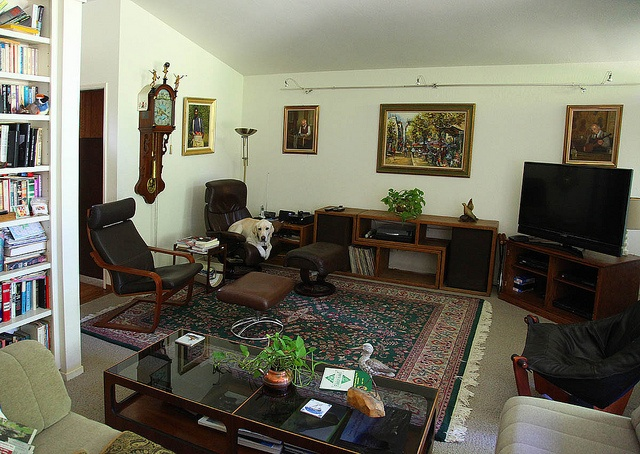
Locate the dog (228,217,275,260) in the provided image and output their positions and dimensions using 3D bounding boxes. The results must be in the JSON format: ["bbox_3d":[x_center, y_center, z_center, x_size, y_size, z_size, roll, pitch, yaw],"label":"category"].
[{"bbox_3d":[-0.934,0.131,6.011,0.438,0.522,0.624,-11,20,-41],"label":"dog"}]

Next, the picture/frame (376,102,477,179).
[{"bbox_3d":[1.609,-1.292,6.271,1.224,0.817,0.050,5,9,24],"label":"picture/frame"}]

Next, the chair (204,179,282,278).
[{"bbox_3d":[-1.144,0.006,6.249,0.864,1.267,0.965,7,13,24],"label":"chair"}]

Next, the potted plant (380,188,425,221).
[{"bbox_3d":[1.172,-0.339,6.099,0.548,0.334,0.497,0,17,2],"label":"potted plant"}]

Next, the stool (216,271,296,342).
[{"bbox_3d":[-0.695,0.838,4.619,0.717,0.508,0.853,6,10,29],"label":"stool"}]

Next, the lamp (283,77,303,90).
[{"bbox_3d":[-0.427,-2.305,6.904,0.339,0.174,0.062,11,17,29],"label":"lamp"}]

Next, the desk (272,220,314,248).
[{"bbox_3d":[-0.417,0.099,6.503,0.725,0.436,0.390,10,19,31],"label":"desk"}]

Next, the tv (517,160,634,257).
[{"bbox_3d":[3.036,-0.218,5.032,0.178,0.807,1.178,-4,12,-31],"label":"tv"}]

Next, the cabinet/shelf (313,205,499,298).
[{"bbox_3d":[1.238,0.311,6.382,2.564,0.907,0.632,7,7,24],"label":"cabinet/shelf"}]

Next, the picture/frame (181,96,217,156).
[{"bbox_3d":[-1.819,-1.516,6.365,0.067,0.840,0.897,10,17,25],"label":"picture/frame"}]

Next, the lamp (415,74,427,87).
[{"bbox_3d":[1.402,-2.026,5.890,0.142,0.163,0.633,6,15,12],"label":"lamp"}]

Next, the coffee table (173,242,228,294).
[{"bbox_3d":[-1.477,0.506,5.307,0.626,0.555,0.358,8,11,36],"label":"coffee table"}]

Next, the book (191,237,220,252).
[{"bbox_3d":[-1.436,0.208,5.366,0.212,0.070,0.205,8,14,24],"label":"book"}]

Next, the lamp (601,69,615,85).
[{"bbox_3d":[3.473,-1.789,5.130,0.064,0.203,0.230,13,15,30],"label":"lamp"}]

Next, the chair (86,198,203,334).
[{"bbox_3d":[-1.901,0.368,4.708,1.138,1.195,1.135,11,12,26],"label":"chair"}]

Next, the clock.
[{"bbox_3d":[-2.090,-1.175,5.500,0.492,1.761,0.775,2,15,-1],"label":"clock"}]

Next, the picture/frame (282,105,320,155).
[{"bbox_3d":[-0.282,-1.602,6.926,0.812,0.895,0.094,6,10,23],"label":"picture/frame"}]

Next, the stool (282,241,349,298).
[{"bbox_3d":[-0.053,0.565,5.799,0.656,0.579,0.902,7,8,20],"label":"stool"}]
